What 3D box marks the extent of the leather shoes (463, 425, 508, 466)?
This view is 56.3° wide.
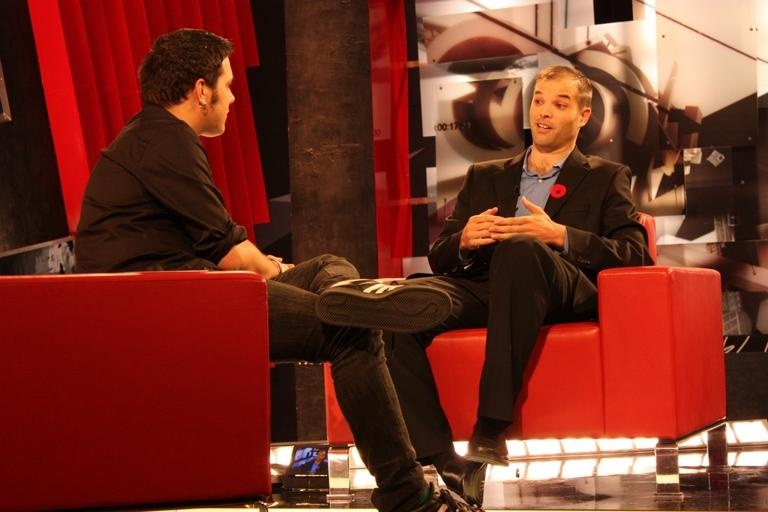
[{"bbox_3d":[0.340,0.625,2.357,0.091,0.156,0.172,-1,-14,23],"label":"leather shoes"}]

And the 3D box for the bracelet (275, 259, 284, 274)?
[{"bbox_3d":[-0.357,0.036,2.394,0.016,0.042,0.032,-25,-9,-6],"label":"bracelet"}]

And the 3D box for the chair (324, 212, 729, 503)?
[{"bbox_3d":[0.386,0.434,3.052,1.579,0.955,0.853,-5,-19,19],"label":"chair"}]

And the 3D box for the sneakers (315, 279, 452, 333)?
[{"bbox_3d":[0.008,0.109,2.017,0.399,0.140,0.179,3,3,8],"label":"sneakers"}]
